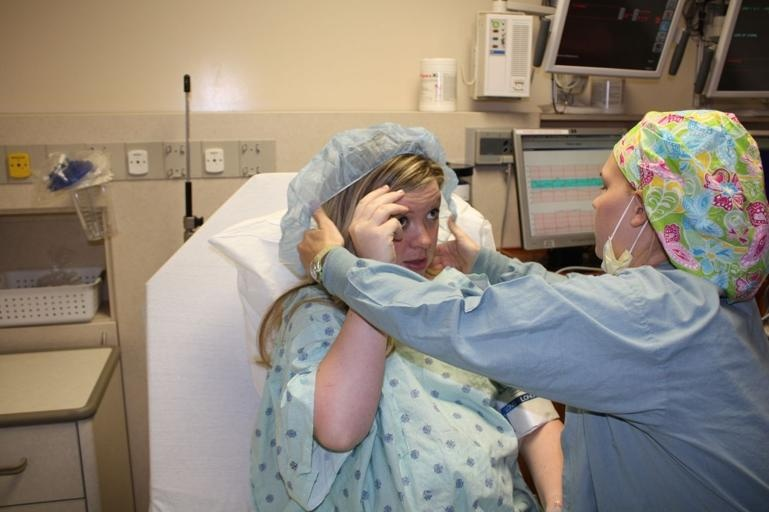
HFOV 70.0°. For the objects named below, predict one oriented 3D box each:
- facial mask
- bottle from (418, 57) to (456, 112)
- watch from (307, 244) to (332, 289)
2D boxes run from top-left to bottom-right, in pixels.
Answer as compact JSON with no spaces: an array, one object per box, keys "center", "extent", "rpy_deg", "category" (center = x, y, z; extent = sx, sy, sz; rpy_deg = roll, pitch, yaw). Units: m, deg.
[{"center":[0.684,-0.066,1.552],"extent":[0.060,0.249,0.082],"rpy_deg":[-9,42,-26],"category":"facial mask"},{"center":[0.252,-0.801,2.668],"extent":[0.237,0.263,0.219],"rpy_deg":[1,5,7],"category":"bottle"},{"center":[-0.181,0.029,1.643],"extent":[0.025,0.095,0.101],"rpy_deg":[15,15,-3],"category":"watch"}]
